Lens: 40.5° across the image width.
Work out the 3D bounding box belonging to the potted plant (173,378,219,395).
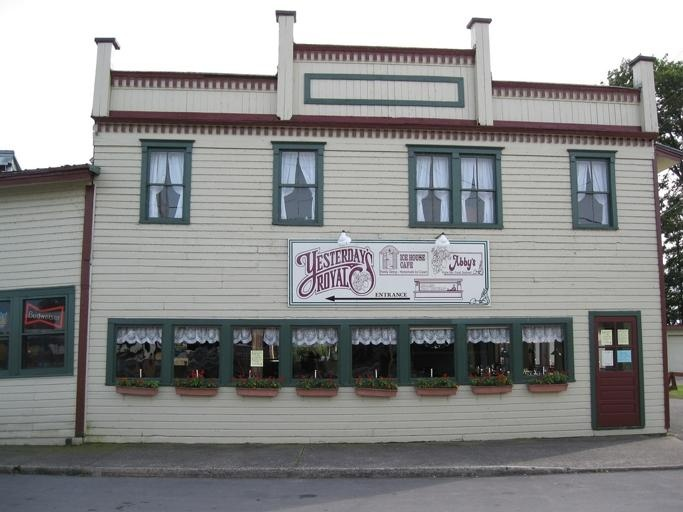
[{"bbox_3d":[-3.611,3.295,23.228,1.036,0.455,0.275,0,7,-4],"label":"potted plant"}]

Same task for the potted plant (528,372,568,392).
[{"bbox_3d":[5.327,3.213,23.843,0.728,0.346,0.540,-2,-7,2],"label":"potted plant"}]

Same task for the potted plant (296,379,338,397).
[{"bbox_3d":[-0.598,3.301,23.312,1.036,0.373,0.279,-1,7,-10],"label":"potted plant"}]

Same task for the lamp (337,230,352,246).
[{"bbox_3d":[0.093,-0.477,23.815,0.370,0.382,0.170,-1,7,-9],"label":"lamp"}]

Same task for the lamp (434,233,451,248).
[{"bbox_3d":[2.603,-0.416,23.845,0.344,0.341,0.579,3,-2,10],"label":"lamp"}]

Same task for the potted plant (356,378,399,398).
[{"bbox_3d":[0.869,3.311,23.434,0.754,0.333,0.521,1,-8,0],"label":"potted plant"}]
